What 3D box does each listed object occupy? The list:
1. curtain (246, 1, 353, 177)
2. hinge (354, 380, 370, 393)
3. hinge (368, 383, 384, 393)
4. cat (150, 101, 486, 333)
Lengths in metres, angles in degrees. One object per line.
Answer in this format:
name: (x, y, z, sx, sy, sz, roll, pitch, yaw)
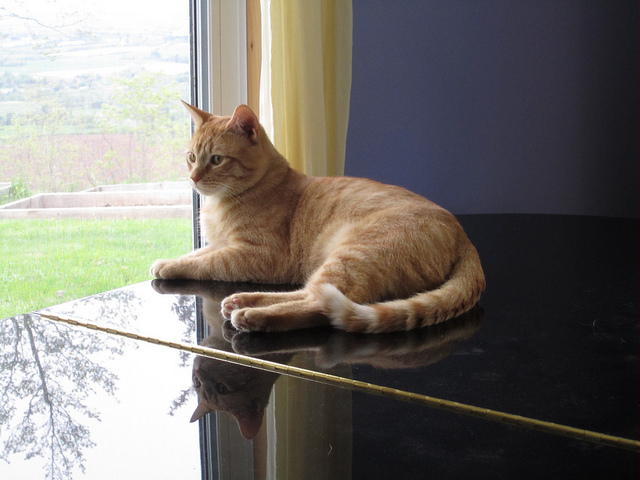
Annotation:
curtain: (-0.058, -0.658, 3.156, 0.495, 0.769, 0.376, -2, 13, -16)
hinge: (0.107, 0.373, 1.853, 0.061, 0.017, 0.018, 4, 19, 9)
hinge: (0.142, 0.376, 1.847, 0.032, 0.011, 0.008, 5, 15, 29)
cat: (-0.049, -0.115, 2.367, 1.179, 0.685, 0.875, 8, 9, 35)
